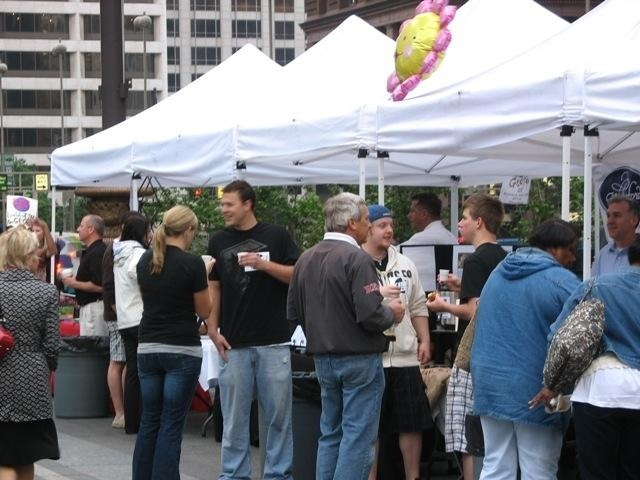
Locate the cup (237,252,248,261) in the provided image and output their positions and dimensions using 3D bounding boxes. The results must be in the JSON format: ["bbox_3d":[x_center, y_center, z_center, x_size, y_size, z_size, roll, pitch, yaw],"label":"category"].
[{"bbox_3d":[-0.669,0.145,9.473,0.073,0.059,0.074,1,-5,0],"label":"cup"}]

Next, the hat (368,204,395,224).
[{"bbox_3d":[0.539,-0.232,9.803,0.169,0.126,0.168,-3,6,-28],"label":"hat"}]

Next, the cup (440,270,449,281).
[{"bbox_3d":[1.074,0.308,9.568,0.081,0.087,0.080,3,-5,0],"label":"cup"}]

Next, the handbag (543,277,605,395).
[{"bbox_3d":[1.796,0.716,7.984,0.266,0.725,0.509,28,6,1],"label":"handbag"}]

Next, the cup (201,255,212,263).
[{"bbox_3d":[-1.019,0.175,9.922,0.075,0.064,0.078,2,1,0],"label":"cup"}]
